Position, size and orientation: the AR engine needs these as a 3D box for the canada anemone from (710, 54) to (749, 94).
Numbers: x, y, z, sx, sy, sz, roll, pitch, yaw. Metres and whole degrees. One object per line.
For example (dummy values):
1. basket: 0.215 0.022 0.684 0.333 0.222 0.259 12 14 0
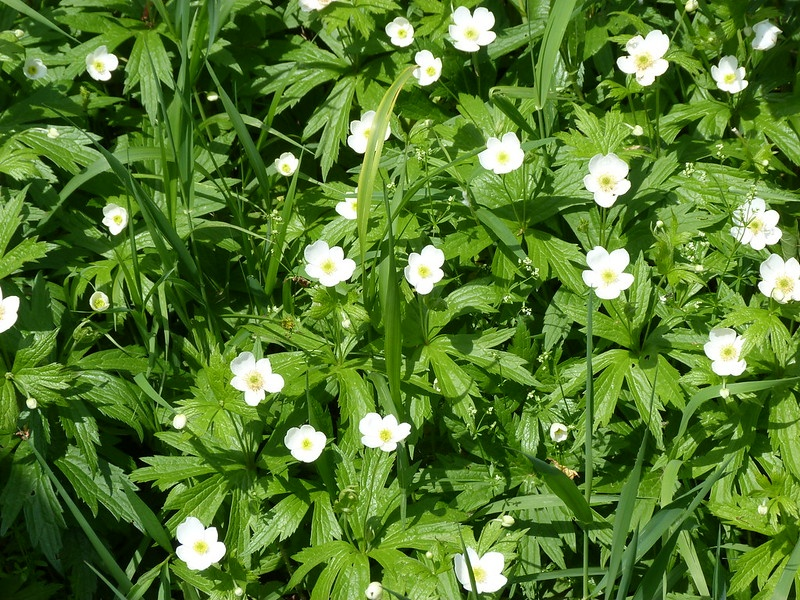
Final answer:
1. canada anemone: 1.802 -1.236 4.053 0.181 0.080 0.214 -39 97 1

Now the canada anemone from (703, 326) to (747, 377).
1. canada anemone: 1.555 0.252 3.517 0.171 0.096 0.254 -16 72 13

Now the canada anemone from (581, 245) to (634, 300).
1. canada anemone: 1.018 -0.128 3.617 0.243 0.130 0.242 8 60 -3
